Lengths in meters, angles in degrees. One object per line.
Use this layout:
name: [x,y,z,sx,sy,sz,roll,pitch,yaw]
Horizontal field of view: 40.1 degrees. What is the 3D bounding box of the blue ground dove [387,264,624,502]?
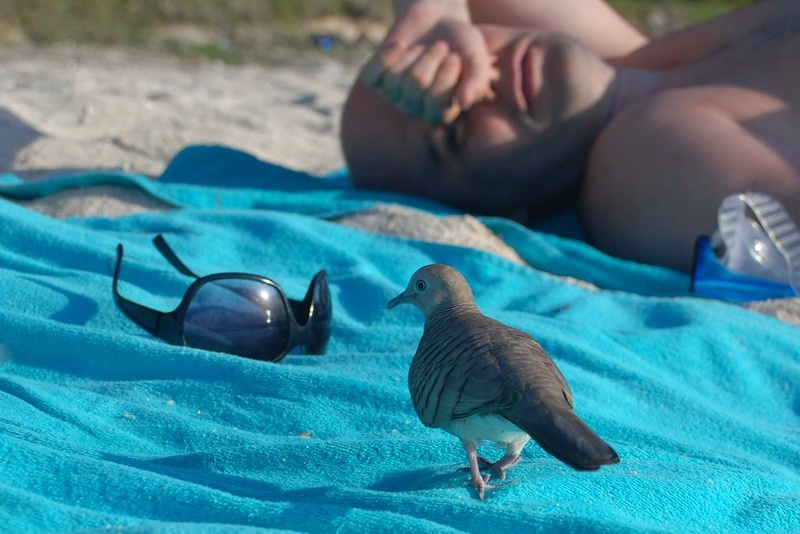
blue ground dove: [0.147,0.159,1.615,0.215,0.442,0.292,-5,94,-28]
